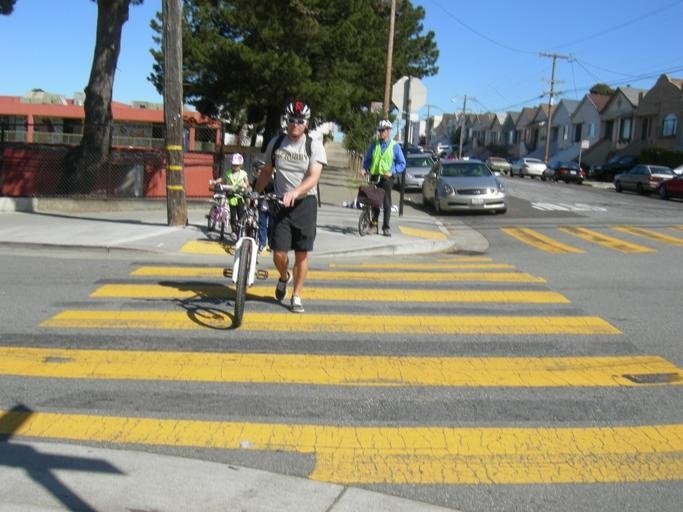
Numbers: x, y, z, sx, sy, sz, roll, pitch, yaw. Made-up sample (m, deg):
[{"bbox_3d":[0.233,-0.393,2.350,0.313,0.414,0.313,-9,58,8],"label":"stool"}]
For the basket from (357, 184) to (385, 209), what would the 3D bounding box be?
[{"bbox_3d":[0.629,-1.284,12.716,0.670,0.774,0.387,6,0,2],"label":"basket"}]

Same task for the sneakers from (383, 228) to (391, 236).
[{"bbox_3d":[1.025,-0.523,13.154,0.171,0.203,0.142,0,8,17],"label":"sneakers"}]

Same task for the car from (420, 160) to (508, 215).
[{"bbox_3d":[4.174,-2.297,19.601,2.233,1.771,2.753,0,10,-9],"label":"car"}]

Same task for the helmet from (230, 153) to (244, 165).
[{"bbox_3d":[-2.159,-1.977,12.080,0.239,0.238,0.409,1,10,-14],"label":"helmet"}]

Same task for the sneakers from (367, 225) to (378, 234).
[{"bbox_3d":[0.704,-0.561,13.270,0.145,0.255,0.160,1,-4,-8],"label":"sneakers"}]

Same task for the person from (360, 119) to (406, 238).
[{"bbox_3d":[0.884,-1.647,12.774,0.640,2.549,1.025,6,9,32],"label":"person"}]

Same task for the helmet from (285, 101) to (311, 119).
[{"bbox_3d":[-0.483,-1.578,6.355,0.255,0.184,0.315,0,11,-8],"label":"helmet"}]

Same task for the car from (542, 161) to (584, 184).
[{"bbox_3d":[16.571,-6.182,44.033,1.279,1.135,3.199,0,14,-3],"label":"car"}]
